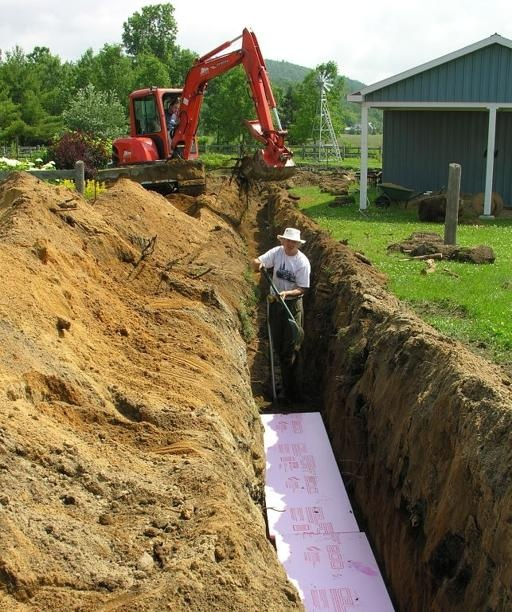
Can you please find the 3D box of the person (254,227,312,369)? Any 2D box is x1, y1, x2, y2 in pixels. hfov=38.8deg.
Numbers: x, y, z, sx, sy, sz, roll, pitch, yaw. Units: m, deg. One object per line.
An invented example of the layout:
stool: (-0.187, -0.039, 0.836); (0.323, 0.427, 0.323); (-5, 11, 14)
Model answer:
person: (0.381, -0.014, 9.467); (0.632, 2.067, 1.105); (-2, 15, 3)

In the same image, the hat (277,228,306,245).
hat: (0.435, -0.844, 8.860); (0.255, 0.190, 0.262); (-3, 13, -4)

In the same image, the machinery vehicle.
machinery vehicle: (-1.150, -3.498, 13.892); (1.774, 2.631, 4.438); (-10, 15, -43)
